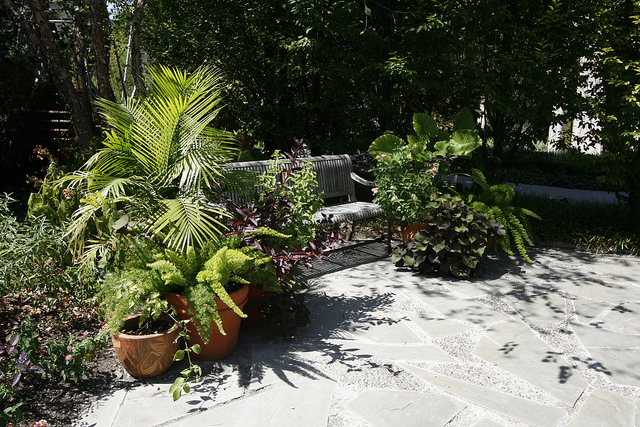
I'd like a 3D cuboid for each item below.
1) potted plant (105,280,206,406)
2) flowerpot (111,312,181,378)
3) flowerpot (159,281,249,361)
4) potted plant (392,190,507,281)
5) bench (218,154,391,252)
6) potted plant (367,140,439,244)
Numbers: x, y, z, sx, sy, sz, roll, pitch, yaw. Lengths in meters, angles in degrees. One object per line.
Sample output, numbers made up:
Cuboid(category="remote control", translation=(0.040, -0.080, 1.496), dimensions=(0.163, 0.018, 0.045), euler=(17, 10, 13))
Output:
Cuboid(category="potted plant", translation=(-1.468, 1.130, 3.959), dimensions=(0.861, 0.998, 0.552), euler=(2, 11, 23))
Cuboid(category="flowerpot", translation=(-1.681, 1.301, 4.173), dimensions=(0.643, 0.454, 0.628), euler=(-2, 10, -34))
Cuboid(category="flowerpot", translation=(-1.158, 0.995, 4.425), dimensions=(0.764, 0.581, 0.754), euler=(-3, 7, -16))
Cuboid(category="potted plant", translation=(1.623, 0.350, 6.203), dimensions=(1.548, 0.802, 1.349), euler=(-27, 7, -28))
Cuboid(category="bench", translation=(-0.128, -0.015, 6.036), dimensions=(0.965, 1.403, 2.439), euler=(12, 15, 44))
Cuboid(category="potted plant", translation=(1.194, -0.217, 6.734), dimensions=(1.227, 1.648, 1.344), euler=(-5, -11, 21))
